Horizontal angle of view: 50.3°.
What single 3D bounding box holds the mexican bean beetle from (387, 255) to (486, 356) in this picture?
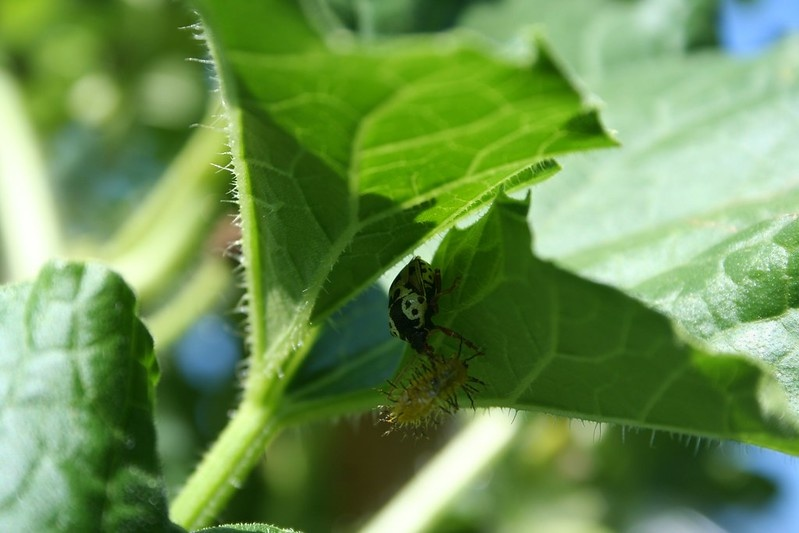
[{"bbox_3d":[0.095,0.132,3.001,0.260,0.114,0.368,6,98,48],"label":"mexican bean beetle"}]
